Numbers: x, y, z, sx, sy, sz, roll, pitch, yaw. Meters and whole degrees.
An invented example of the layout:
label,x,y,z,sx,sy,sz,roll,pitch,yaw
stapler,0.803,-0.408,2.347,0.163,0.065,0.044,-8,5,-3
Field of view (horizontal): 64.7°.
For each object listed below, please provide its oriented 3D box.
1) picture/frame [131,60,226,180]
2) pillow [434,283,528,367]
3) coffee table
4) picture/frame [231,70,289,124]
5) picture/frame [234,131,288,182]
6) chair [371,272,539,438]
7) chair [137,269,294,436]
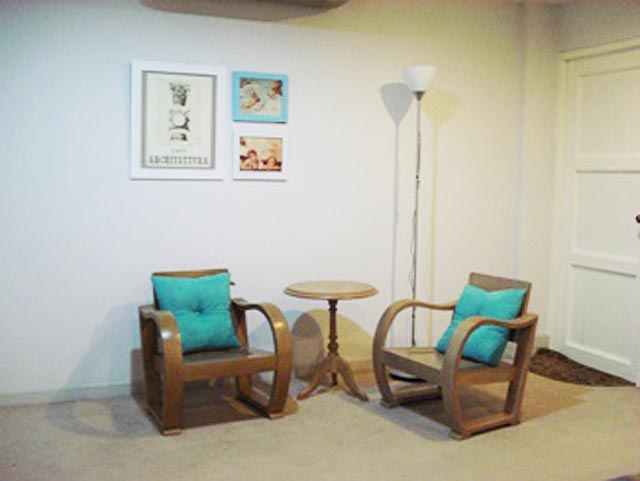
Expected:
label,x,y,z,sx,sy,sz,roll,pitch,yaw
picture/frame,-1.017,-0.869,3.537,0.822,1.099,0.076,-2,9,-20
pillow,1.046,0.507,3.270,0.164,0.499,0.497,33,-16,-26
coffee table,0.097,0.726,3.681,0.625,0.737,0.634,3,-8,-33
picture/frame,-0.462,-1.066,3.723,0.406,0.346,0.034,-3,7,-23
picture/frame,-0.458,-0.633,3.758,0.373,0.331,0.027,-3,5,-22
chair,0.854,0.601,3.594,0.955,1.218,1.096,0,0,-30
chair,-0.658,0.669,3.289,0.917,0.878,0.707,-1,1,-31
